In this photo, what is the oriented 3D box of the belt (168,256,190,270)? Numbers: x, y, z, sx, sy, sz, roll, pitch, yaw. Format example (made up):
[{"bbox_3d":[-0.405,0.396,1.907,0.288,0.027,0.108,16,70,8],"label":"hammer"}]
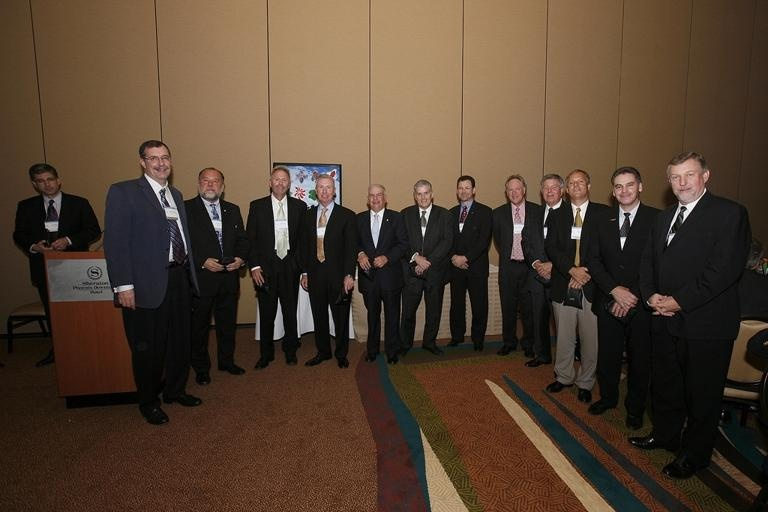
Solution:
[{"bbox_3d":[-2.231,0.080,6.131,0.126,0.134,0.042,-36,16,-7],"label":"belt"}]

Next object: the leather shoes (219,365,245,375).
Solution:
[{"bbox_3d":[-1.869,1.369,6.894,0.302,0.146,0.132,-1,-2,5],"label":"leather shoes"}]

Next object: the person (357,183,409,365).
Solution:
[{"bbox_3d":[-0.037,0.224,7.081,0.620,2.148,0.413,0,10,4],"label":"person"}]

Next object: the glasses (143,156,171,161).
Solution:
[{"bbox_3d":[-2.406,-1.013,5.967,0.232,0.051,0.061,-6,13,-26],"label":"glasses"}]

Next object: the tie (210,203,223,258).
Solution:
[{"bbox_3d":[-1.979,-0.308,6.659,0.119,0.577,0.205,-4,11,-18],"label":"tie"}]

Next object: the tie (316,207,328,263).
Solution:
[{"bbox_3d":[-0.768,-0.260,6.944,0.117,0.638,0.193,2,11,13],"label":"tie"}]

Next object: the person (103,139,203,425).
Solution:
[{"bbox_3d":[-2.474,0.292,6.036,0.895,2.918,0.497,-6,12,-30],"label":"person"}]

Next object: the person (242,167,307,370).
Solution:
[{"bbox_3d":[-1.317,0.141,6.967,0.731,2.385,0.444,-3,11,-15],"label":"person"}]

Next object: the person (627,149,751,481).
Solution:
[{"bbox_3d":[2.999,0.570,5.584,0.907,3.060,0.674,7,13,36],"label":"person"}]

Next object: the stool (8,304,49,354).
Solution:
[{"bbox_3d":[-4.690,0.952,7.411,0.550,0.623,0.458,-3,-5,15],"label":"stool"}]

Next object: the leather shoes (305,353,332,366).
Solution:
[{"bbox_3d":[-0.835,1.263,7.095,0.344,0.160,0.125,-1,8,-26],"label":"leather shoes"}]

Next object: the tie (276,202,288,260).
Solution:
[{"bbox_3d":[-1.262,-0.316,6.917,0.159,0.665,0.171,-3,11,-13],"label":"tie"}]
